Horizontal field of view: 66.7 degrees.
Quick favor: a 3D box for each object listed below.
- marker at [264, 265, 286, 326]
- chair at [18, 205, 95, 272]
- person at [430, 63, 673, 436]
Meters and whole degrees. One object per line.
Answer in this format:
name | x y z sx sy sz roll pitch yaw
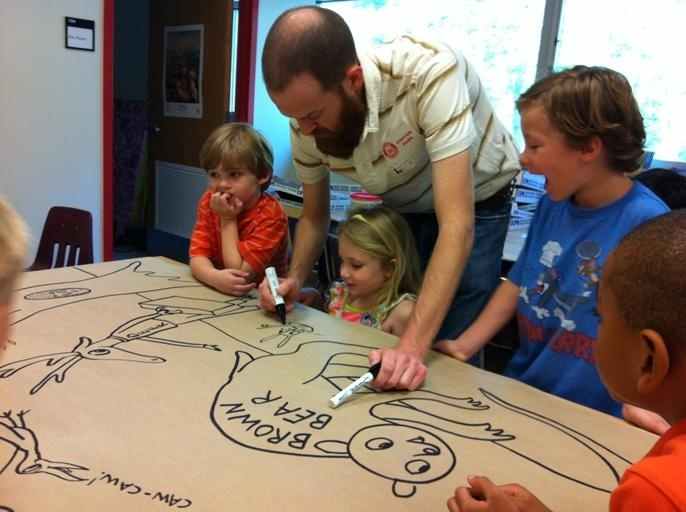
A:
marker | -0.207 0.116 1.554 0.029 0.028 0.245 7 27 -21
chair | -1.205 -0.066 2.166 0.210 0.358 0.241 12 11 -4
person | 0.705 -0.051 1.748 0.585 1.085 0.562 21 20 35
